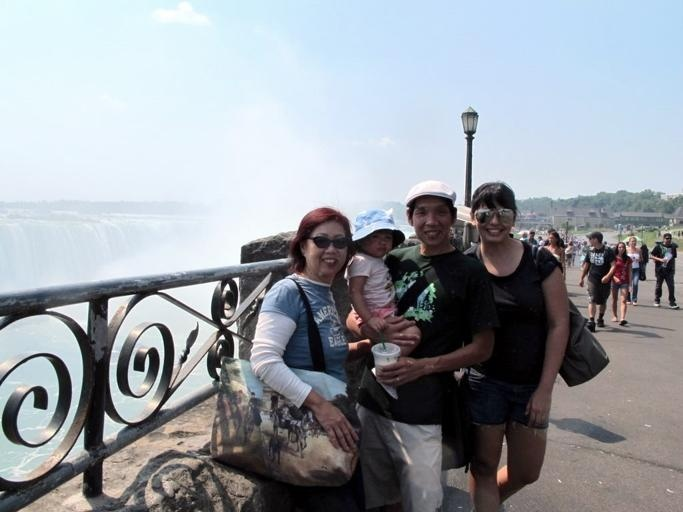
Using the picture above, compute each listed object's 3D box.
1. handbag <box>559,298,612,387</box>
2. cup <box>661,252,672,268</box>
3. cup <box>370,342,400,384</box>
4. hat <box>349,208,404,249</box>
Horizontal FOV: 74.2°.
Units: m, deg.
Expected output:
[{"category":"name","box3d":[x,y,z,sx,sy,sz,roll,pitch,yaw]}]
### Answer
[{"category":"handbag","box3d":[1.608,0.599,2.983,0.322,0.601,0.232,2,5,9]},{"category":"cup","box3d":[8.507,0.104,11.782,0.120,0.353,0.254,16,8,-2]},{"category":"cup","box3d":[0.225,0.608,2.616,0.180,0.205,0.184,2,15,0]},{"category":"hat","box3d":[0.219,-0.187,2.810,0.290,0.183,0.345,1,-20,1]}]
